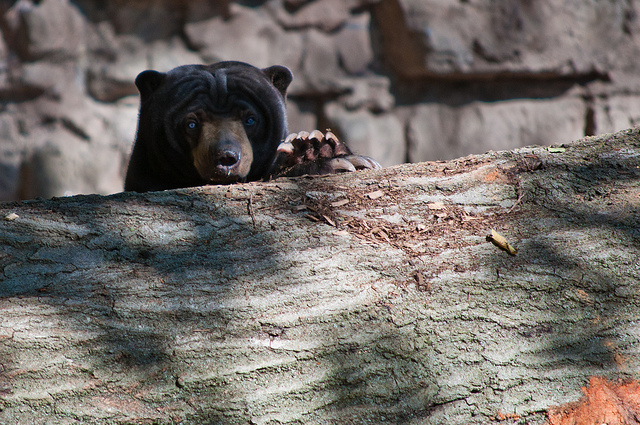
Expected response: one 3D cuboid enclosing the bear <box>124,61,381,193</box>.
[{"bbox_3d":[-1.031,-0.834,11.833,1.571,1.320,0.943,-2,-14,-8],"label":"bear"}]
